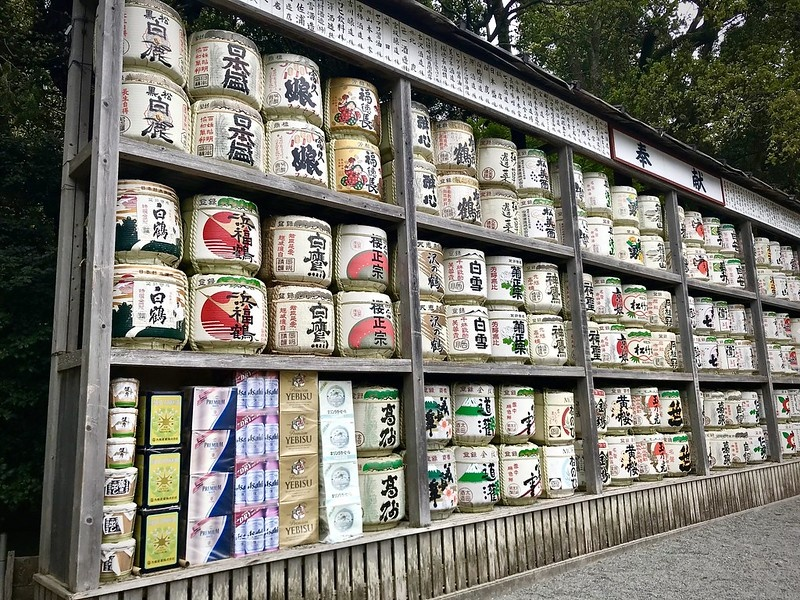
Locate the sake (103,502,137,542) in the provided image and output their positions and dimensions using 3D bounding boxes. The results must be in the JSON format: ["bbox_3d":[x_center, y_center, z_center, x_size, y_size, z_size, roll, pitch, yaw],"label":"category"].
[{"bbox_3d":[-1.779,1.398,4.588,0.225,0.211,0.263,-13,-17,31],"label":"sake"}]

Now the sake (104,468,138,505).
[{"bbox_3d":[-1.733,1.150,4.537,0.199,0.179,0.202,-9,-13,37],"label":"sake"}]

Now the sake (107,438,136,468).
[{"bbox_3d":[-1.715,0.960,4.597,0.179,0.158,0.170,0,-17,-6],"label":"sake"}]

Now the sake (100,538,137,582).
[{"bbox_3d":[-1.774,1.614,4.568,0.228,0.189,0.237,6,-14,-28],"label":"sake"}]

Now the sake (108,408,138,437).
[{"bbox_3d":[-1.736,0.767,4.581,0.177,0.163,0.171,1,-14,-7],"label":"sake"}]

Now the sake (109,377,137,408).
[{"bbox_3d":[-1.740,0.594,4.652,0.187,0.185,0.095,4,-13,-37],"label":"sake"}]

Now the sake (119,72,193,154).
[{"bbox_3d":[-1.703,-1.311,5.041,0.494,0.480,0.495,9,8,9],"label":"sake"}]
